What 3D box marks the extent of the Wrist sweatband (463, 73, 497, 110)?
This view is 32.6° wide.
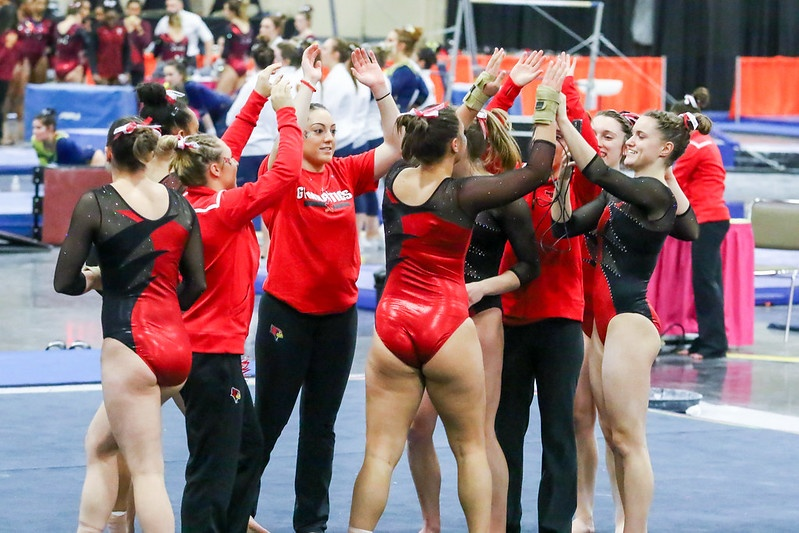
[{"bbox_3d":[0.578,-1.290,10.109,0.115,0.297,0.179,7,-29,49],"label":"Wrist sweatband"}]

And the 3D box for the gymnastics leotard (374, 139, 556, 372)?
[{"bbox_3d":[0.483,-0.067,9.800,1.195,2.079,0.778,13,12,22],"label":"gymnastics leotard"}]

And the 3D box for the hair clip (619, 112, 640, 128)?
[{"bbox_3d":[1.755,-1.144,10.399,0.116,0.060,0.153,22,-5,32],"label":"hair clip"}]

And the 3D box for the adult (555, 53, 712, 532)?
[{"bbox_3d":[1.635,0.358,10.012,1.014,3.291,0.586,1,5,12],"label":"adult"}]

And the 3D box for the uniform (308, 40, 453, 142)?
[{"bbox_3d":[-0.268,-1.336,10.133,0.619,0.742,0.159,5,30,37],"label":"uniform"}]

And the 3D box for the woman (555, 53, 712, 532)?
[{"bbox_3d":[1.636,0.358,10.014,1.012,3.291,0.591,1,5,11],"label":"woman"}]

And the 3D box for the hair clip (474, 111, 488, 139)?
[{"bbox_3d":[0.612,-1.048,10.030,0.065,0.177,0.132,-7,18,-1],"label":"hair clip"}]
